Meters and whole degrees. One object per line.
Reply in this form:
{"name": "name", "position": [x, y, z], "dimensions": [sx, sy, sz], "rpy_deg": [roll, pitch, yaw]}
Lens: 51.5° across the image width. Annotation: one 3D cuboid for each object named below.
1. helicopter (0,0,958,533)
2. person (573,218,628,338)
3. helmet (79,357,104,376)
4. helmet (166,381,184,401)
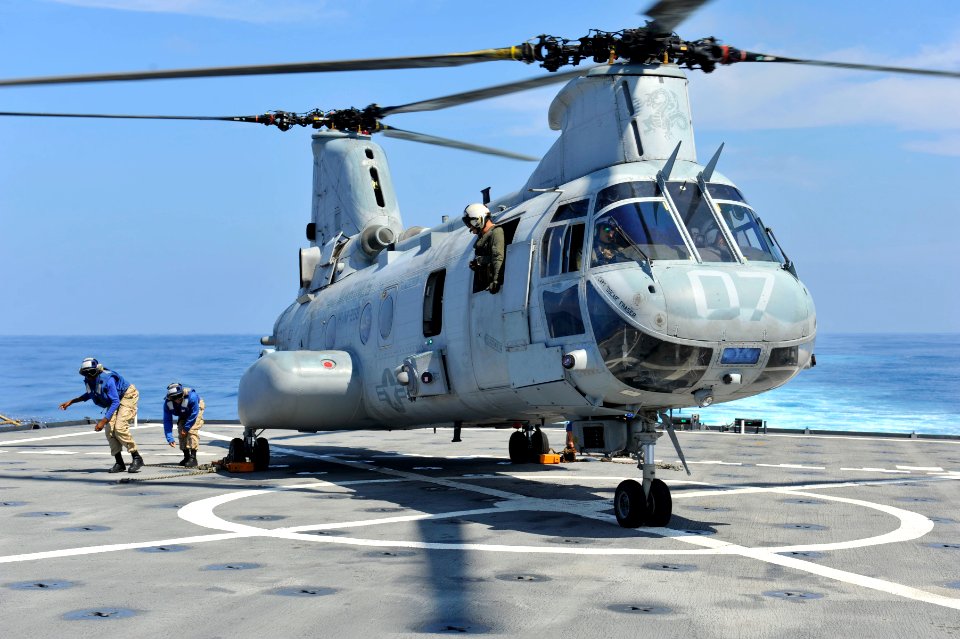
{"name": "helicopter", "position": [1.069, -0.769, 19.205], "dimensions": [11.844, 3.893, 12.418], "rpy_deg": [-1, 1, -33]}
{"name": "person", "position": [1.881, -0.617, 14.200], "dimensions": [0.301, 1.915, 0.559], "rpy_deg": [22, -21, -36]}
{"name": "helmet", "position": [-7.679, 0.928, 19.479], "dimensions": [0.491, 0.274, 0.467], "rpy_deg": [-4, -1, -5]}
{"name": "helmet", "position": [-6.285, 1.503, 20.588], "dimensions": [0.486, 0.324, 0.444], "rpy_deg": [-2, -24, -12]}
